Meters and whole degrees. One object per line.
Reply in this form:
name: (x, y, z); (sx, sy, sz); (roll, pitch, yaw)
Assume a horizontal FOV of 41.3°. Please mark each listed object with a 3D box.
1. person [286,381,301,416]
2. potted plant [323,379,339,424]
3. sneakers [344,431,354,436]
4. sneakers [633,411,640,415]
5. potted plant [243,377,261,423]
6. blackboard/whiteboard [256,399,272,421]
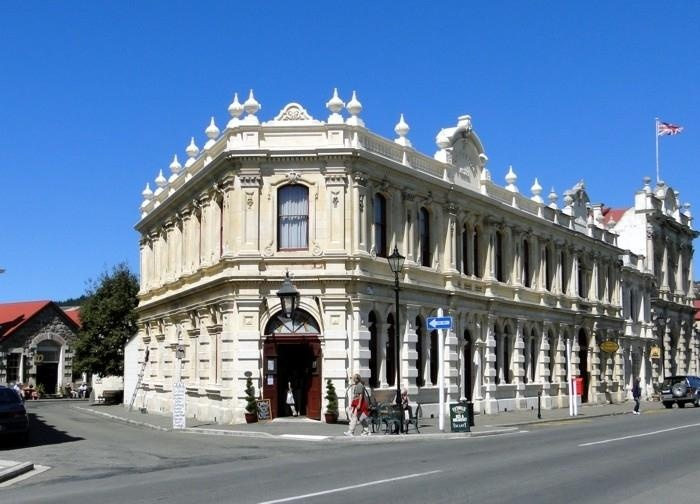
person: (-2.666, 6.663, 41.891); (0.597, 1.568, 1.011); (-3, -16, 16)
potted plant: (-0.825, 6.511, 40.207); (0.527, 1.942, 0.712); (1, -15, -1)
sneakers: (-0.081, 7.130, 36.204); (0.390, 0.209, 0.137); (4, -22, 31)
sneakers: (15.497, 8.760, 50.234); (0.501, 0.229, 0.180); (3, -5, -41)
potted plant: (-4.274, 6.368, 40.387); (0.627, 2.237, 0.497); (3, -15, -6)
blackboard/whiteboard: (-3.797, 6.950, 40.493); (0.063, 0.905, 0.741); (-20, -26, 39)
